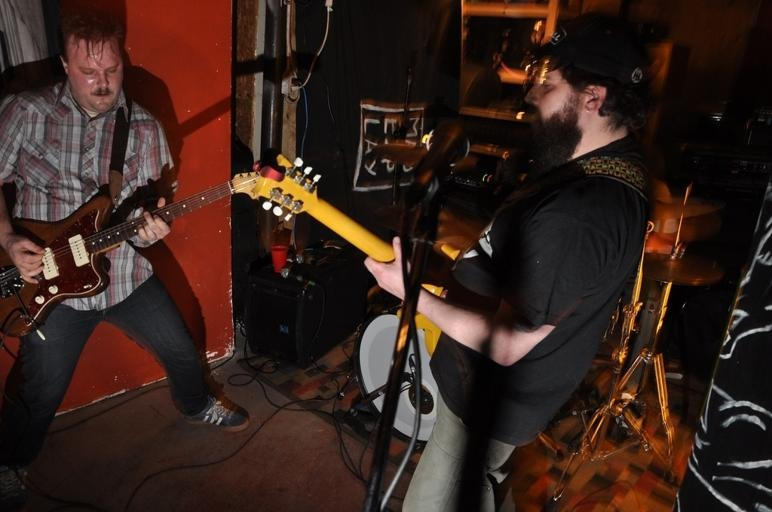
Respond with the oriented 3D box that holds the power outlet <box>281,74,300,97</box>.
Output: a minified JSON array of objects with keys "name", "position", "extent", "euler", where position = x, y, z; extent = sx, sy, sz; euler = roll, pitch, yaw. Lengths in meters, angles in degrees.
[{"name":"power outlet","position":[-0.770,-1.377,4.502],"extent":[0.133,0.154,0.055],"euler":[-1,28,-17]}]

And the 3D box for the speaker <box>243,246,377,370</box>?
[{"name":"speaker","position":[-0.661,0.370,4.808],"extent":[0.635,0.725,1.021],"euler":[13,21,23]}]

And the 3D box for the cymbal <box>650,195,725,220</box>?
[{"name":"cymbal","position":[2.011,-0.297,3.783],"extent":[0.479,0.176,0.210],"euler":[-7,31,-26]}]

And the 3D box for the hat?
[{"name":"hat","position":[0.969,-1.017,2.676],"extent":[0.599,0.309,0.437],"euler":[19,24,9]}]

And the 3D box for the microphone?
[{"name":"microphone","position":[0.218,-0.382,2.329],"extent":[0.182,0.324,0.306],"euler":[15,28,14]}]

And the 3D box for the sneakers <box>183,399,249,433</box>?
[{"name":"sneakers","position":[-1.175,1.135,3.947],"extent":[0.431,0.199,0.208],"euler":[14,44,-28]}]

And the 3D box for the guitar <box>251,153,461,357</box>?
[{"name":"guitar","position":[-0.261,0.033,3.781],"extent":[2.065,0.388,0.628],"euler":[37,60,-6]}]
